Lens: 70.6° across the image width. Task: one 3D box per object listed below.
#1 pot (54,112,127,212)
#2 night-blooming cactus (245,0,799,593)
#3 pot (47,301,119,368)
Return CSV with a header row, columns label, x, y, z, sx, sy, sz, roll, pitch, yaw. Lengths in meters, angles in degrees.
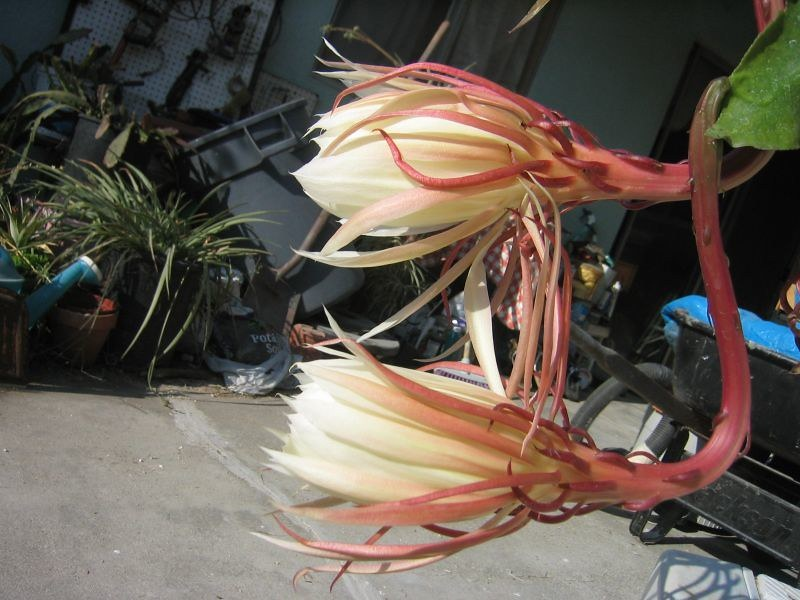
label,x,y,z,sx,sy,sz,roll,pitch,yaw
pot,-1.479,-0.626,2.575,0.186,0.428,0.258,25,12,-14
night-blooming cactus,0.069,-0.006,0.825,0.565,0.727,0.462,3,2,0
pot,-1.226,0.126,2.164,0.243,0.227,0.251,8,2,0
